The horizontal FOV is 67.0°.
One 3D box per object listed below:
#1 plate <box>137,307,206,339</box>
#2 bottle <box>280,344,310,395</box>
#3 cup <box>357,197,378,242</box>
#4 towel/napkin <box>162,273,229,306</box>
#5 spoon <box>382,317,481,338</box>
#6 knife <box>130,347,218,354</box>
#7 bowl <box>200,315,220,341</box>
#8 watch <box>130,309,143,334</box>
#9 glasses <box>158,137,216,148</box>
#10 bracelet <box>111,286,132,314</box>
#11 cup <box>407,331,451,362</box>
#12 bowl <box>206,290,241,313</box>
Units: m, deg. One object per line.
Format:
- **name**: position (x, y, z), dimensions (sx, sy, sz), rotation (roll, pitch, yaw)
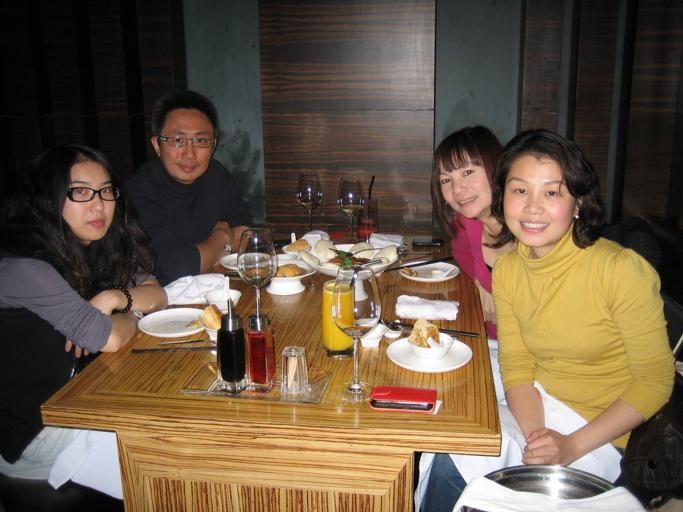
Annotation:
- **plate**: position (-0.621, 0.246, 1.890), dimensions (0.134, 0.020, 0.134), rotation (4, 21, 3)
- **bottle**: position (-0.140, 0.336, 1.515), dimensions (0.095, 0.132, 0.095), rotation (-2, 6, 0)
- **cup**: position (0.140, -0.205, 2.875), dimensions (0.161, 0.231, 0.164), rotation (3, 4, 0)
- **towel/napkin**: position (-0.611, 0.141, 2.127), dimensions (0.211, 0.060, 0.168), rotation (0, 26, -2)
- **spoon**: position (0.311, 0.254, 1.802), dimensions (0.305, 0.034, 0.035), rotation (6, 27, 11)
- **knife**: position (-0.541, 0.313, 1.699), dimensions (0.263, 0.023, 0.047), rotation (-1, 2, -5)
- **bowl**: position (-0.440, 0.247, 1.750), dimensions (0.084, 0.069, 0.085), rotation (1, 4, 0)
- **watch**: position (-0.765, 0.249, 1.939), dimensions (0.031, 0.082, 0.060), rotation (3, 2, 0)
- **glasses**: position (-0.854, -0.632, 2.856), dimensions (0.292, 0.075, 0.116), rotation (-9, 16, -22)
- **bracelet**: position (-0.817, 0.169, 1.975), dimensions (0.022, 0.085, 0.087), rotation (-12, 36, 15)
- **cup**: position (0.291, 0.295, 1.662), dimensions (0.086, 0.040, 0.087), rotation (-6, 15, 2)
- **bowl**: position (-0.455, 0.170, 2.016), dimensions (0.130, 0.052, 0.131), rotation (1, 13, 0)
